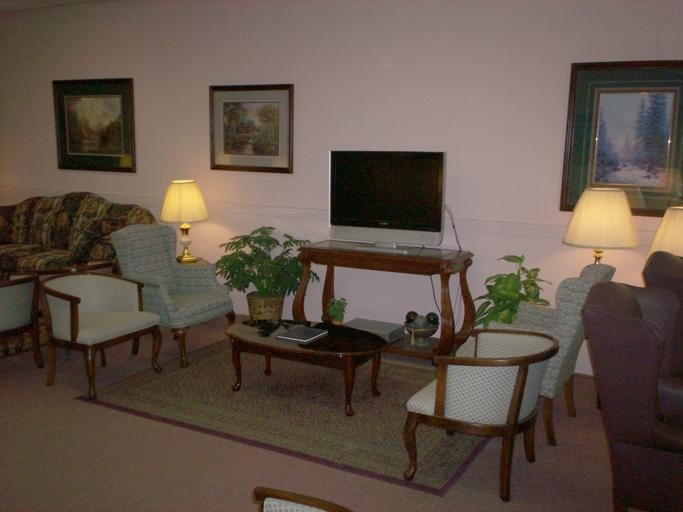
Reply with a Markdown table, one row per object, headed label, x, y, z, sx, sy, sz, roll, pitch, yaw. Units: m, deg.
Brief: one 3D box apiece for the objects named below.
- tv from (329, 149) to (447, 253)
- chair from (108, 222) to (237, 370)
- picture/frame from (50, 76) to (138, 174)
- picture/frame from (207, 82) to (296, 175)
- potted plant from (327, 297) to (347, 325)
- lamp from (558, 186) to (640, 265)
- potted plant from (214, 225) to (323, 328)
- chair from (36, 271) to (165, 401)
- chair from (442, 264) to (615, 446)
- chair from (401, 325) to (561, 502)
| label | x | y | z | sx | sy | sz | roll | pitch | yaw |
| --- | --- | --- | --- | --- | --- | --- | --- | --- | --- |
| tv | 0.529 | -0.590 | 5.560 | 1.113 | 0.812 | 0.102 | 3 | 5 | 22 |
| chair | -1.702 | 0.239 | 6.166 | 1.446 | 1.896 | 1.306 | 8 | 14 | 31 |
| picture/frame | -3.441 | -1.891 | 7.438 | 1.394 | 1.390 | 0.109 | 4 | 11 | 20 |
| picture/frame | -1.065 | -1.600 | 6.457 | 1.150 | 0.998 | 0.083 | 7 | 17 | 23 |
| potted plant | -0.030 | 0.591 | 5.682 | 0.270 | 0.338 | 0.252 | 2 | 1 | 11 |
| lamp | 2.178 | -0.307 | 4.606 | 0.650 | 0.642 | 0.631 | -7 | 11 | -35 |
| potted plant | -0.874 | 0.166 | 6.117 | 1.137 | 0.988 | 1.155 | 4 | 7 | 27 |
| chair | -2.287 | 0.621 | 5.210 | 1.070 | 1.191 | 1.087 | 4 | 7 | 30 |
| chair | 1.668 | 0.549 | 4.677 | 1.228 | 1.860 | 1.124 | 12 | 18 | 40 |
| chair | 0.988 | 0.998 | 3.763 | 1.077 | 1.004 | 1.019 | 4 | 8 | 30 |
